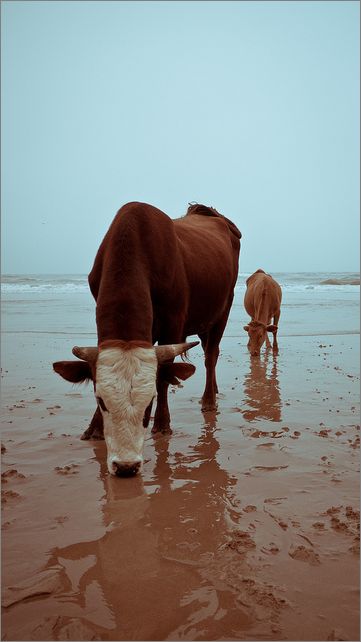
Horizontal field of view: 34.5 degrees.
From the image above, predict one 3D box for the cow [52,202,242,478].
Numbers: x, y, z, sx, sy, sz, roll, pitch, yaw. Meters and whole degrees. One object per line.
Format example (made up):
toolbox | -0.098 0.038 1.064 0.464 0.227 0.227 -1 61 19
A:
cow | -0.104 -0.088 5.791 1.148 2.139 3.781 3 8 14
